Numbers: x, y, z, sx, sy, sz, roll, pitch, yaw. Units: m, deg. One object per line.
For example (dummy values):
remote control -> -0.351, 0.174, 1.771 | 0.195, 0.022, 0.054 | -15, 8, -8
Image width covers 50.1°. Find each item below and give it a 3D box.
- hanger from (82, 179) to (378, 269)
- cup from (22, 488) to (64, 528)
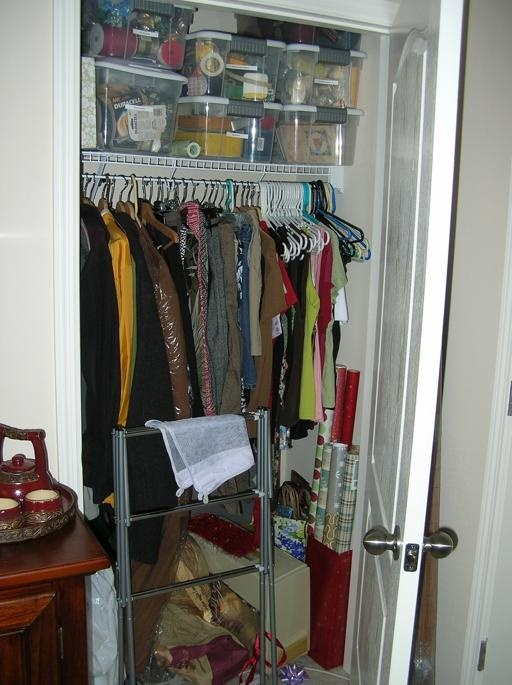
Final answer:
hanger -> -0.127, -0.469, 2.078 | 0.961, 0.302, 0.689 | -3, 11, -20
cup -> -0.444, 0.335, 1.131 | 0.076, 0.042, 0.095 | -8, 14, -39
